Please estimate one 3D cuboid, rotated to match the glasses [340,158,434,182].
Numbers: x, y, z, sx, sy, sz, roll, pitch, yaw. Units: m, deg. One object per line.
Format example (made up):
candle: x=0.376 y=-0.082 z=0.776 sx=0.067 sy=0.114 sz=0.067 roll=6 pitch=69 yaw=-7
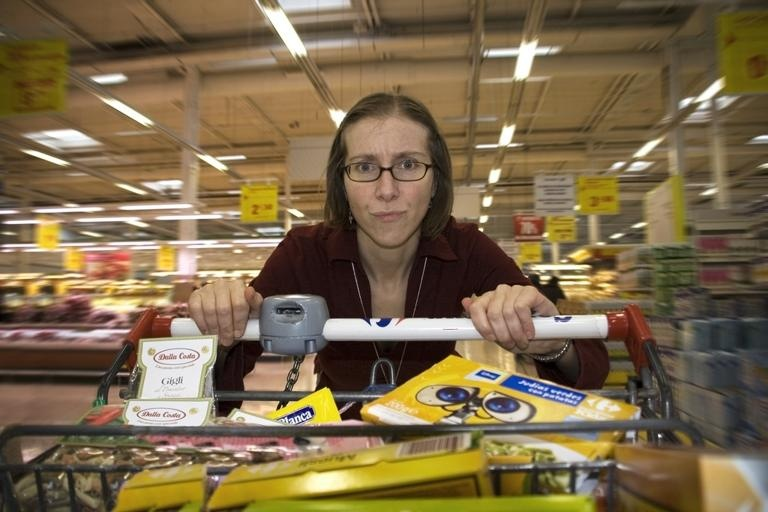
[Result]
glasses: x=0.011 y=-0.301 z=1.802 sx=0.308 sy=0.084 sz=0.061 roll=-1 pitch=-3 yaw=0
